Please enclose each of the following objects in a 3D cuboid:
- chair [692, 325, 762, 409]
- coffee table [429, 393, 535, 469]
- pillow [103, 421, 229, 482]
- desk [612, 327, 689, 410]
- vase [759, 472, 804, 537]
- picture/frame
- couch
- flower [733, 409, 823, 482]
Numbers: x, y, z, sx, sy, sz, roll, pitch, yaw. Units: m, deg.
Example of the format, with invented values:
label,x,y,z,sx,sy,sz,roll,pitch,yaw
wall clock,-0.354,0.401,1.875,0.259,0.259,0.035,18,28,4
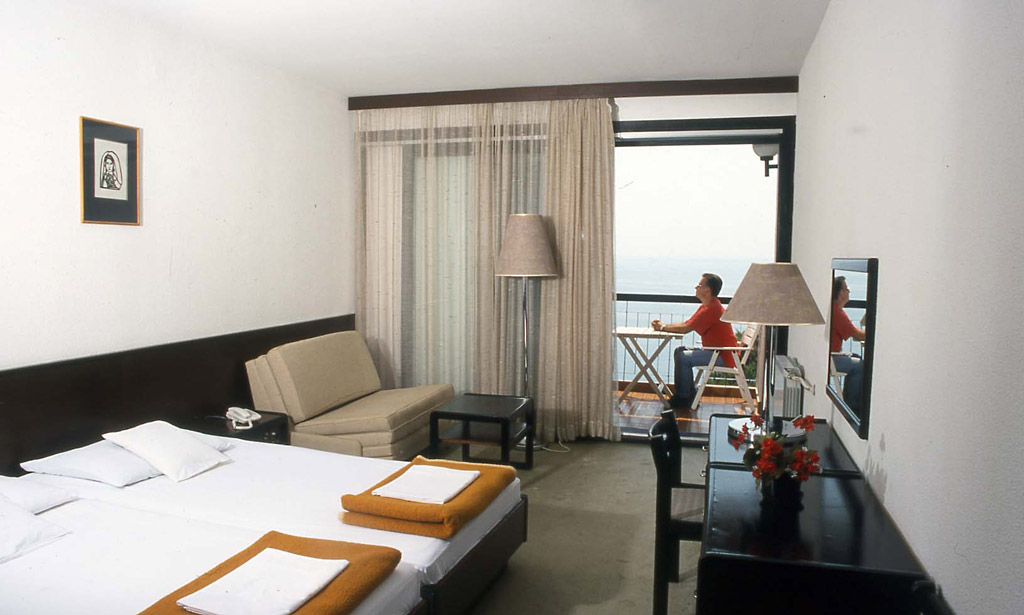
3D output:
label,x,y,z,sx,sy,sz,roll,pitch,yaw
chair,2.321,0.626,7.318,0.926,1.144,0.909,0,-1,12
coffee table,-0.280,1.006,5.825,0.719,0.577,0.676,3,2,27
pillow,-2.265,0.927,4.534,0.602,0.119,0.378,22,17,16
desk,1.478,0.639,7.659,0.917,0.851,0.906,0,5,18
vase,1.252,0.944,3.252,0.261,0.292,0.244,2,3,16
picture/frame,-2.790,-0.944,4.766,0.085,0.719,0.447,2,9,27
couch,-1.434,0.782,5.899,1.206,0.765,1.250,2,2,16
flower,1.368,0.707,3.511,0.404,0.390,0.229,-5,-33,32
